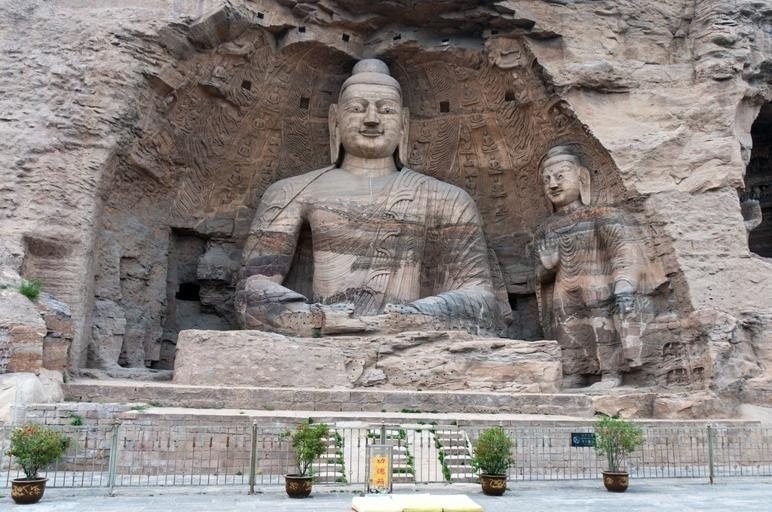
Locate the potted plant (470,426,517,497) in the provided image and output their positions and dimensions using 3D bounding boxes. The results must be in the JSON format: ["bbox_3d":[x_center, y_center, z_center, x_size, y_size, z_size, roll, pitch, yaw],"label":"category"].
[{"bbox_3d":[1.138,2.028,9.050,0.471,0.621,0.481,20,-21,-34],"label":"potted plant"}]

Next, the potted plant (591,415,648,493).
[{"bbox_3d":[2.367,1.993,9.334,0.472,0.739,0.534,-5,-13,12],"label":"potted plant"}]

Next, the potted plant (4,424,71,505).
[{"bbox_3d":[-3.126,1.981,8.781,0.832,0.820,0.650,2,-21,-10],"label":"potted plant"}]

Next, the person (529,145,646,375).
[{"bbox_3d":[2.702,0.474,12.230,0.571,2.291,1.511,7,-16,-35],"label":"person"}]
